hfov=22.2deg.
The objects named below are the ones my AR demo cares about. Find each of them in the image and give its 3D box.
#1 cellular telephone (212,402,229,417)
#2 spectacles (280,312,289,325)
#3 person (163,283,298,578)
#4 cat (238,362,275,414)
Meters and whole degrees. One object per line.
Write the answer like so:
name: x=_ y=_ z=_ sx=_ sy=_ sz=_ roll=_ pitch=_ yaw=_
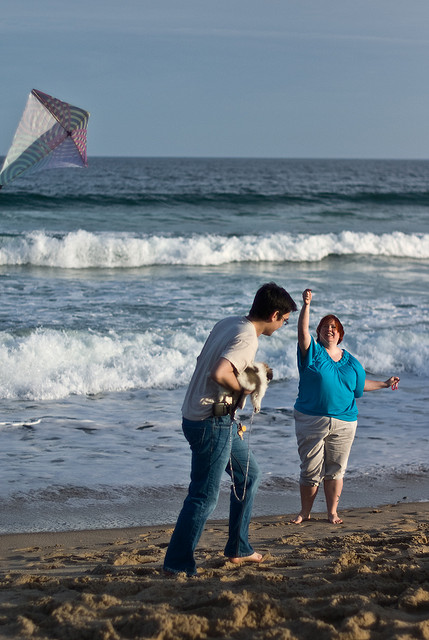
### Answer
cellular telephone: x=0.036 y=0.481 z=5.834 sx=0.092 sy=0.078 sz=0.040 roll=-2 pitch=3 yaw=-11
spectacles: x=0.390 y=-0.005 z=6.137 sx=0.027 sy=0.088 sz=0.086 roll=-25 pitch=-6 yaw=16
person: x=-0.125 y=0.535 z=6.145 sx=0.855 sy=1.485 sz=0.971 roll=-3 pitch=15 yaw=-32
cat: x=0.224 y=0.346 z=5.949 sx=0.210 sy=0.209 sz=0.320 roll=7 pitch=14 yaw=20
